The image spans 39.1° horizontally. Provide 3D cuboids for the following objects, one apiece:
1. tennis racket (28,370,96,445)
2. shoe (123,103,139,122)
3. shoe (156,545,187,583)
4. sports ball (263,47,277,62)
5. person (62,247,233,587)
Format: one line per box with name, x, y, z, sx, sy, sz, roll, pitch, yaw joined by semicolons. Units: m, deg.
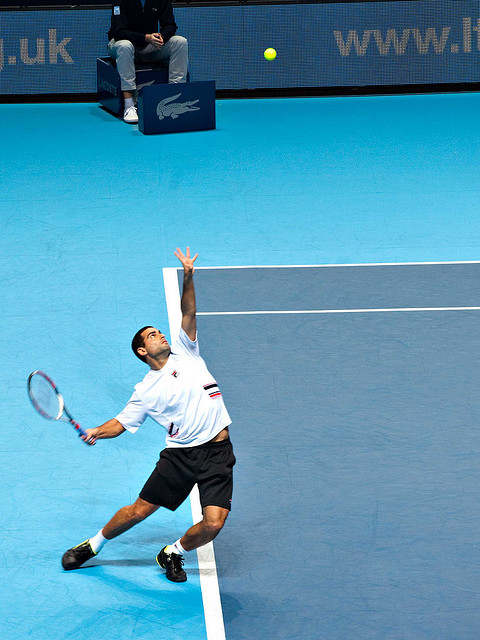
tennis racket;-0.924;0.377;3.254;0.513;0.200;0.034;44;33;16
shoe;-1.983;-3.722;12.180;0.254;0.346;0.218;-6;12;-6
shoe;-0.343;1.190;3.371;0.135;0.182;0.164;-7;12;-11
sports ball;0.617;-5.187;13.271;0.264;0.243;0.288;-17;27;9
person;-0.409;0.538;3.322;0.787;1.496;0.623;-2;13;14
